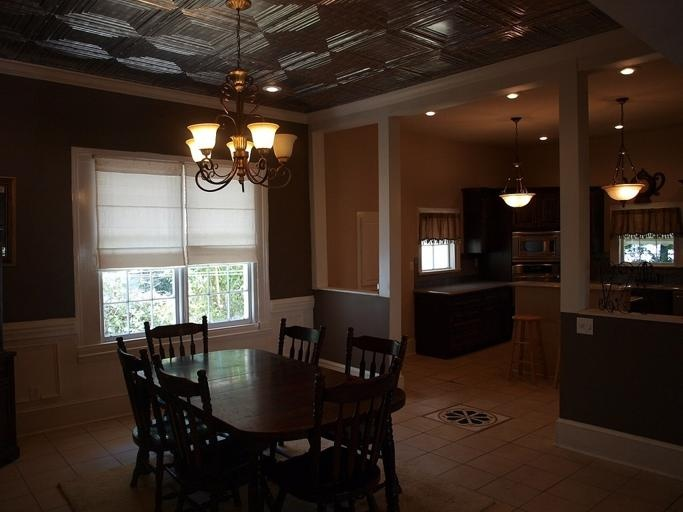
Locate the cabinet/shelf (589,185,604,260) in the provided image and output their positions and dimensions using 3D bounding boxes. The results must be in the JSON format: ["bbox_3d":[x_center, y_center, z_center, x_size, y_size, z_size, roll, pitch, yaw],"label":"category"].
[{"bbox_3d":[4.136,-0.604,7.997,0.297,1.008,0.096,-3,6,-25],"label":"cabinet/shelf"}]

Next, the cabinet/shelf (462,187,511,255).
[{"bbox_3d":[2.388,-0.591,8.183,1.028,1.119,0.419,-6,7,-43],"label":"cabinet/shelf"}]

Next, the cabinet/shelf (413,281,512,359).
[{"bbox_3d":[1.915,0.938,7.564,1.606,0.994,0.550,-4,6,-31],"label":"cabinet/shelf"}]

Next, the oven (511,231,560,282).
[{"bbox_3d":[3.485,0.071,8.677,0.937,0.903,0.687,0,-5,38],"label":"oven"}]

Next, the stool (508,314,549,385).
[{"bbox_3d":[2.364,1.105,6.216,0.446,0.791,0.709,1,6,23],"label":"stool"}]

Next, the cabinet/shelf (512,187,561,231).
[{"bbox_3d":[3.200,-0.772,8.083,0.874,0.823,0.425,0,-1,22],"label":"cabinet/shelf"}]
